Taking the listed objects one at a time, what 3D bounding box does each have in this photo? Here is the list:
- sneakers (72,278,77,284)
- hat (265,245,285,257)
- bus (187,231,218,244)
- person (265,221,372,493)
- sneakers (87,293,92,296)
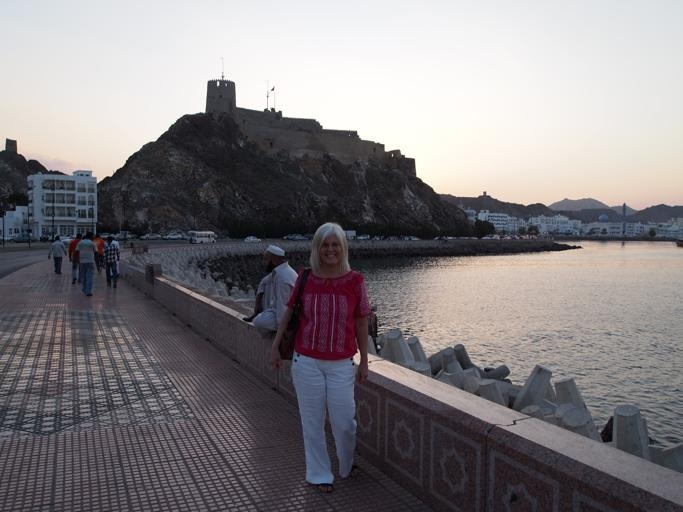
[{"bbox_3d":[-10.741,0.957,19.696,0.104,0.202,0.194,1,6,-13],"label":"sneakers"},{"bbox_3d":[-0.755,-0.069,5.538,0.196,0.073,0.148,23,13,22],"label":"hat"},{"bbox_3d":[-21.196,-2.941,75.882,2.434,2.061,4.533,-1,-1,30],"label":"bus"},{"bbox_3d":[-0.169,0.815,3.971,0.782,2.137,0.530,5,0,3],"label":"person"},{"bbox_3d":[-8.107,1.186,15.816,0.155,0.109,0.395,6,-1,-26],"label":"sneakers"}]
